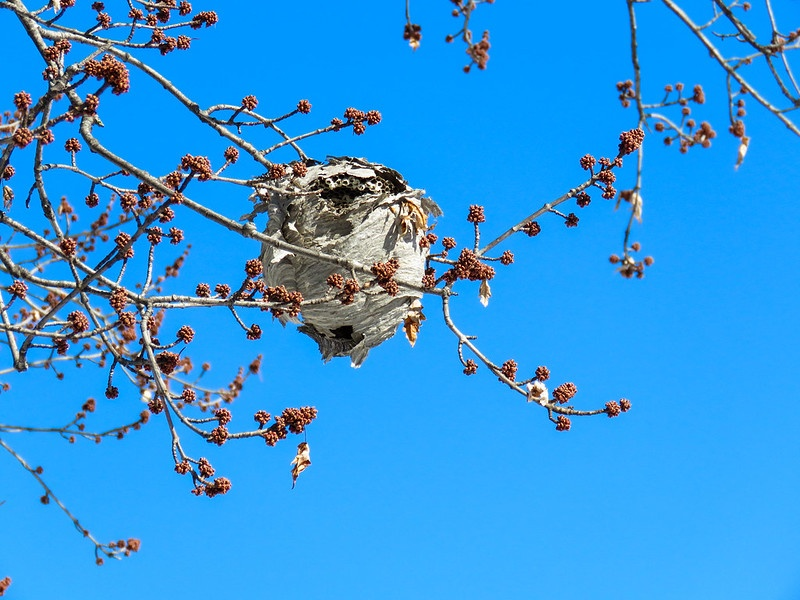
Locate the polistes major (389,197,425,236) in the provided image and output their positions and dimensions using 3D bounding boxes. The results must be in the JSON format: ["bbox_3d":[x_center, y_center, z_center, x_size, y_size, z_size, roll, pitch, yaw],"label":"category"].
[{"bbox_3d":[0.085,-0.835,17.083,0.170,0.373,0.364,-28,53,34],"label":"polistes major"}]
